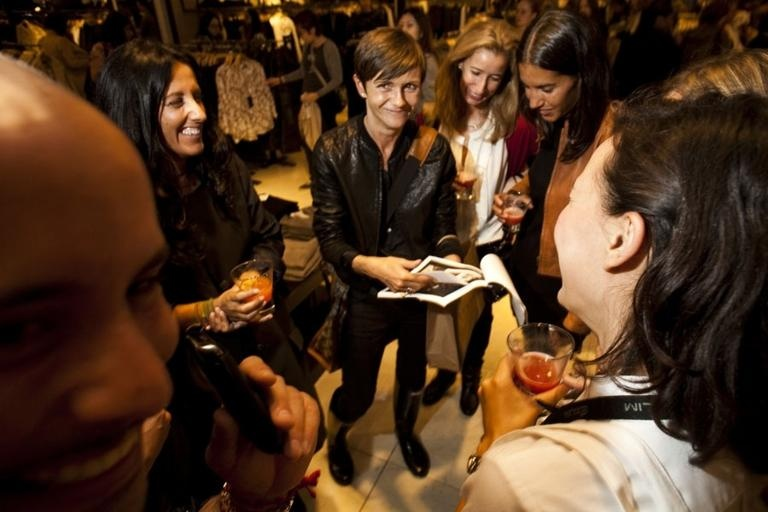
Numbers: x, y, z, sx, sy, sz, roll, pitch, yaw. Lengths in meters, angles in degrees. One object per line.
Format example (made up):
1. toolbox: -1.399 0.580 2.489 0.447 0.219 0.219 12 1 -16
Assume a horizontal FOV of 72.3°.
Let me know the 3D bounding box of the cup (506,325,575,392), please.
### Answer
1. cup: 0.539 0.344 1.790 0.195 0.180 0.222 13 36 26

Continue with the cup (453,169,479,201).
1. cup: 0.422 -0.358 2.698 0.117 0.140 0.153 -2 8 1

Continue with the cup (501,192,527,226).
1. cup: 0.637 -0.234 2.575 0.114 0.147 0.126 -2 -26 5

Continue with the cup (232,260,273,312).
1. cup: -0.500 0.117 2.021 0.134 0.150 0.135 -9 24 4
